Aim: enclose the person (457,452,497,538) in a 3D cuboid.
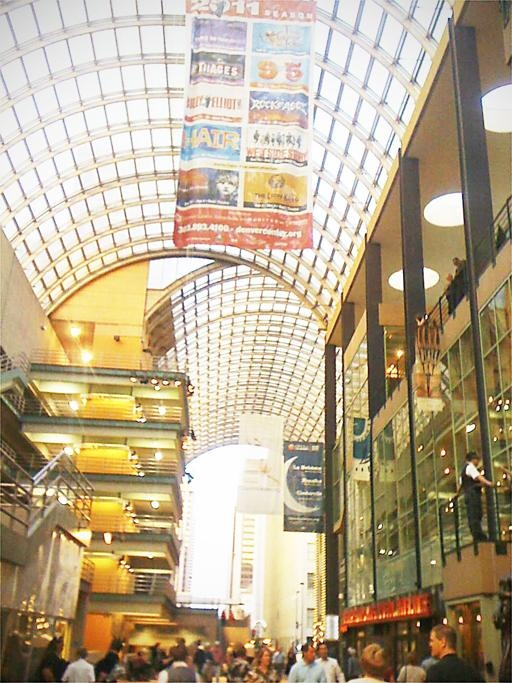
[{"bbox_3d":[4.144,2.974,10.115,0.530,1.442,1.544,-7,-30,16],"label":"person"}]
